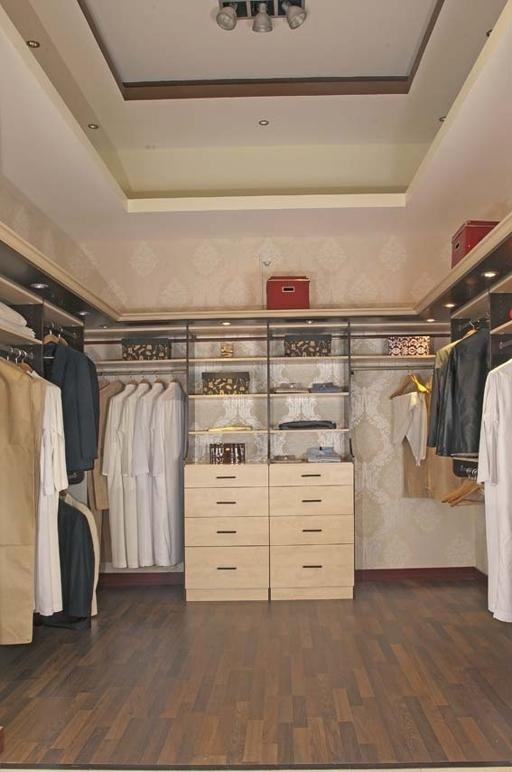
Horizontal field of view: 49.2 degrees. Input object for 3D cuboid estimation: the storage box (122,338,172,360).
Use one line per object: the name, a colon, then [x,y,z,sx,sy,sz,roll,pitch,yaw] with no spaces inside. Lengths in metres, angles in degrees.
storage box: [-0.818,-0.263,4.155,0.346,0.175,0.149,1,-6,-15]

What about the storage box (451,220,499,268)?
storage box: [1.093,-0.735,2.864,0.227,0.199,0.230,-5,-7,37]

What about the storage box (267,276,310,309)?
storage box: [0.218,-0.657,3.987,0.231,0.186,0.247,0,3,-1]

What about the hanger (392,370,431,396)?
hanger: [1.179,-0.013,4.231,0.299,0.193,0.337,-2,-6,12]

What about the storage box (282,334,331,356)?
storage box: [0.385,-0.287,4.163,0.353,0.188,0.190,-1,-6,2]

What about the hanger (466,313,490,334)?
hanger: [1.332,-0.379,3.437,0.173,0.062,0.137,-10,-2,15]
